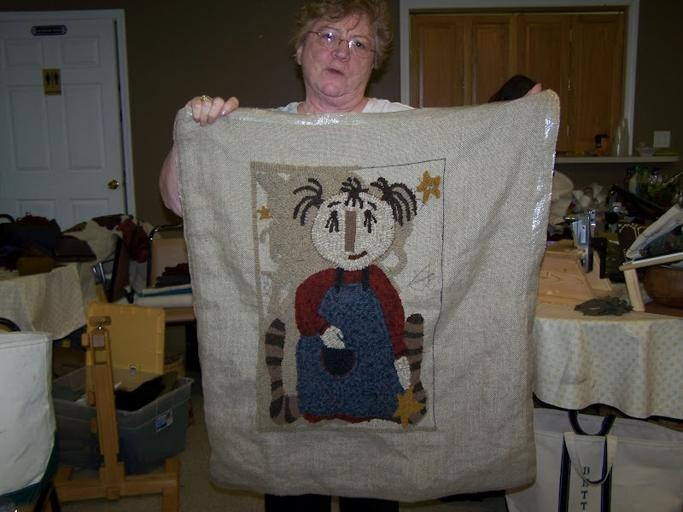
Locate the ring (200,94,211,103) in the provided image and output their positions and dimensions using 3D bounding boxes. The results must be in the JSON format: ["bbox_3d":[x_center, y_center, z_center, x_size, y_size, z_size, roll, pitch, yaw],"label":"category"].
[{"bbox_3d":[-0.481,-0.551,2.406,0.036,0.041,0.018,7,-37,-16],"label":"ring"}]
